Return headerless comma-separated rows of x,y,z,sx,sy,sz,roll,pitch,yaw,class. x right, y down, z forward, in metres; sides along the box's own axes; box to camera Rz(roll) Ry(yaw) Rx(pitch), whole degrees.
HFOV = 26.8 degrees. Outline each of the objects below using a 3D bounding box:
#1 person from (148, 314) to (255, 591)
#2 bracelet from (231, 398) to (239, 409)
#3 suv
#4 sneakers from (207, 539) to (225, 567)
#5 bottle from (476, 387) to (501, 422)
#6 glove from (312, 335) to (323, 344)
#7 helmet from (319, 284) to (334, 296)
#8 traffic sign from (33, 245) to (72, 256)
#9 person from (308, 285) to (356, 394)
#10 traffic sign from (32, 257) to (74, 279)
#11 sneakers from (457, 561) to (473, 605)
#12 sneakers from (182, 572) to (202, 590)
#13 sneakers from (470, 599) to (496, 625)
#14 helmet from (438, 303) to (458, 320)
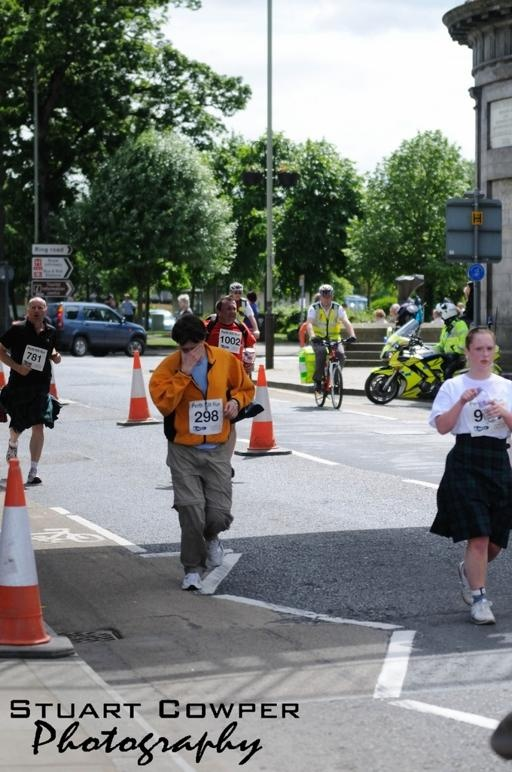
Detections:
-0.329,0.342,5.895,0.391,1.453,0.627,4,5,26,person
-0.114,0.095,5.915,0.017,0.048,0.042,-32,-28,-16,bracelet
-4.930,-1.726,33.951,3.798,1.625,1.929,-5,7,-37,suv
-0.228,0.952,6.167,0.068,0.183,0.086,-3,3,2,sneakers
1.068,0.088,4.954,0.109,0.139,0.170,0,5,-18,bottle
0.890,-0.684,16.222,0.121,0.129,0.252,4,5,30,glove
1.034,-1.376,16.068,0.222,0.268,0.263,0,13,3,helmet
-5.648,-3.713,29.463,1.005,0.301,0.875,2,5,2,traffic sign
1.118,-0.678,16.375,0.687,1.682,1.290,2,5,3,person
-5.318,-3.059,28.083,1.007,0.616,0.615,0,5,-16,traffic sign
0.999,0.941,5.157,0.071,0.192,0.080,-9,-3,5,sneakers
-0.338,1.025,5.683,0.097,0.079,0.173,1,5,-4,sneakers
1.034,1.034,4.917,0.063,0.072,0.164,-1,-5,-1,sneakers
3.131,-1.222,17.535,0.332,0.310,0.261,13,8,29,helmet
